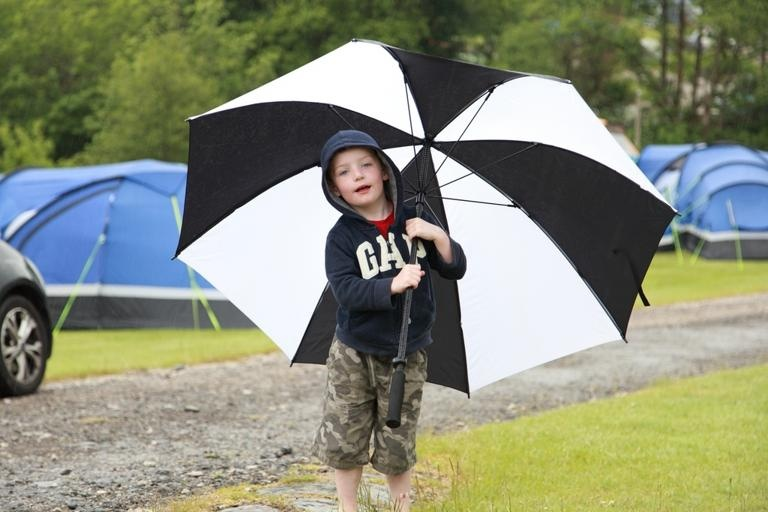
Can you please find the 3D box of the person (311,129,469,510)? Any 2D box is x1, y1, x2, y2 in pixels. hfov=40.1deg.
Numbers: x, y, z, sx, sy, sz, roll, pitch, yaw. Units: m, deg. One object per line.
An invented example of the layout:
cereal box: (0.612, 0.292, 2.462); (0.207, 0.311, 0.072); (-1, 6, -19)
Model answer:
person: (-0.038, 0.473, 7.614); (1.051, 2.742, 0.726); (-4, 12, -3)
